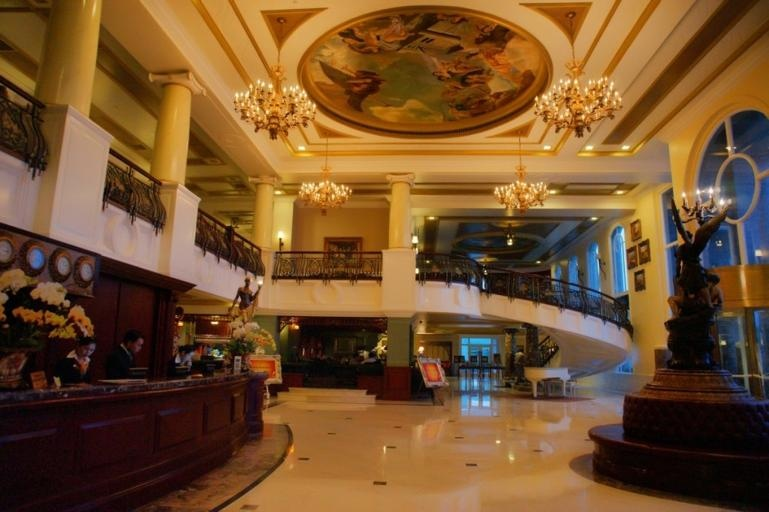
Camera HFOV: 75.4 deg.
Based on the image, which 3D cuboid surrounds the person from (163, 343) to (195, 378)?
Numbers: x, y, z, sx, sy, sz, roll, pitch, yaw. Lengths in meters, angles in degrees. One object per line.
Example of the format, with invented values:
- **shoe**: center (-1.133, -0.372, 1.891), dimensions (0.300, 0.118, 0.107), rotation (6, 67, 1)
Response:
- **person**: center (-4.261, 2.266, 10.338), dimensions (0.510, 0.435, 1.257), rotation (5, -52, -22)

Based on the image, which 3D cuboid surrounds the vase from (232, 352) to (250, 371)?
- **vase**: center (-2.765, 2.027, 9.525), dimensions (0.218, 0.354, 0.557), rotation (-1, -7, 17)

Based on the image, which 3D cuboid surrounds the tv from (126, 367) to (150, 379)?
- **tv**: center (-3.438, 1.624, 6.868), dimensions (0.226, 0.163, 0.246), rotation (4, -7, -28)

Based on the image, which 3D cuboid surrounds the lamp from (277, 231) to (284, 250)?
- **lamp**: center (-3.980, -0.626, 19.027), dimensions (0.293, 0.754, 0.453), rotation (3, -7, -19)

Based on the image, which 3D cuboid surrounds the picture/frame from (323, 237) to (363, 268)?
- **picture/frame**: center (-1.543, -0.144, 18.852), dimensions (1.286, 1.198, 0.106), rotation (2, -33, -4)

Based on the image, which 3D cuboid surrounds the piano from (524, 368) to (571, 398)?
- **piano**: center (5.625, 4.309, 16.792), dimensions (1.588, 1.039, 1.314), rotation (0, -6, 4)

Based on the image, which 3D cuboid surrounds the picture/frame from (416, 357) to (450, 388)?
- **picture/frame**: center (1.516, 3.756, 15.874), dimensions (0.864, 1.041, 1.271), rotation (1, -6, 3)

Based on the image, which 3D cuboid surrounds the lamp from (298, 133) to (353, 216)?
- **lamp**: center (-1.757, -2.561, 15.001), dimensions (1.491, 2.523, 1.450), rotation (3, 4, -15)

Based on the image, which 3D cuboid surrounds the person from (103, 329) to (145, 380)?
- **person**: center (-3.889, 1.480, 7.364), dimensions (0.456, 0.710, 1.453), rotation (4, -7, -27)

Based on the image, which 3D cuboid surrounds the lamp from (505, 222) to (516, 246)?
- **lamp**: center (5.626, -1.061, 22.065), dimensions (0.590, 1.054, 0.566), rotation (7, -16, 7)

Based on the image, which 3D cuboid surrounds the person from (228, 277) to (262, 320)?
- **person**: center (-2.872, 0.838, 10.047), dimensions (0.474, 0.883, 0.988), rotation (3, -7, -17)

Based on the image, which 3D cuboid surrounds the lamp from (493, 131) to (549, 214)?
- **lamp**: center (4.198, -2.405, 15.155), dimensions (1.341, 2.363, 2.429), rotation (-1, -7, 16)

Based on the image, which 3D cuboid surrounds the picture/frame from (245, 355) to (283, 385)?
- **picture/frame**: center (-3.684, 3.469, 15.326), dimensions (0.897, 0.897, 0.561), rotation (3, -7, -13)

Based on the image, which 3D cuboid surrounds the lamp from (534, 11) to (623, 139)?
- **lamp**: center (4.225, -4.065, 10.921), dimensions (1.494, 2.559, 1.426), rotation (-6, 4, -28)

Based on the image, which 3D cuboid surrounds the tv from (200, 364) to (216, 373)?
- **tv**: center (-3.126, 1.975, 8.722), dimensions (0.198, 0.132, 0.198), rotation (-2, -2, 3)
